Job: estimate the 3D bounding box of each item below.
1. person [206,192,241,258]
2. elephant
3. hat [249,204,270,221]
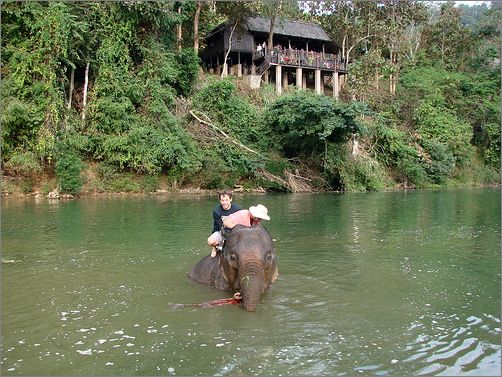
[{"bbox_3d":[-0.591,0.781,10.268,0.798,1.356,0.767,-1,14,-4],"label":"person"},{"bbox_3d":[-0.295,1.829,9.754,1.709,2.081,3.521,4,-2,-16],"label":"elephant"},{"bbox_3d":[0.188,0.509,9.589,0.350,0.129,0.347,36,18,-9],"label":"hat"}]
